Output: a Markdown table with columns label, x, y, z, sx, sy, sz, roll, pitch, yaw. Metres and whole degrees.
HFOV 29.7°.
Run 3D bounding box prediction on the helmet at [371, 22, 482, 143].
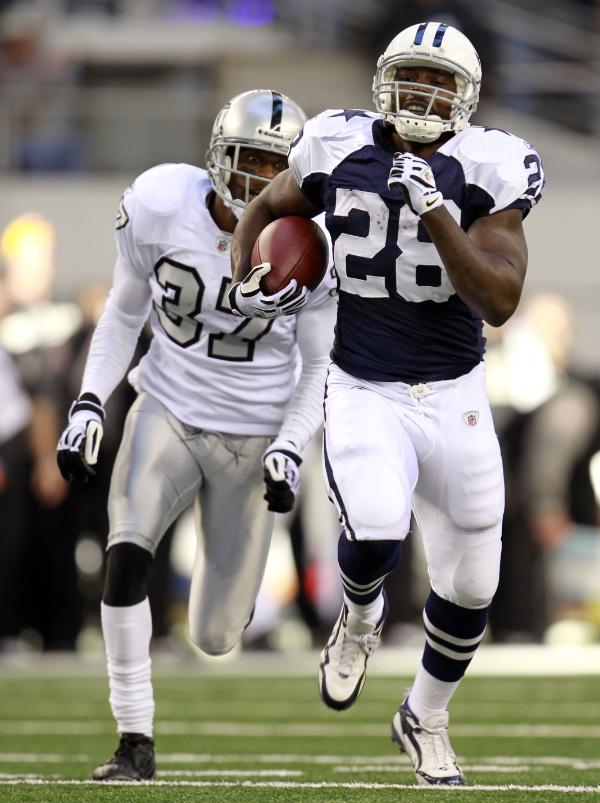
| label | x | y | z | sx | sy | sz | roll | pitch | yaw |
| --- | --- | --- | --- | --- | --- | --- | --- | --- | --- |
| helmet | 0.214 | -0.573 | 2.031 | 0.206 | 0.196 | 0.237 | 11 | 31 | 10 |

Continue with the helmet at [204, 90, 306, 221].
| label | x | y | z | sx | sy | sz | roll | pitch | yaw |
| --- | --- | --- | --- | --- | --- | --- | --- | --- | --- |
| helmet | -0.140 | -0.537 | 2.506 | 0.250 | 0.303 | 0.295 | -1 | 17 | -16 |

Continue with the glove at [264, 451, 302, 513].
| label | x | y | z | sx | sy | sz | roll | pitch | yaw |
| --- | --- | --- | --- | --- | --- | --- | --- | --- | --- |
| glove | -0.033 | 0.149 | 2.170 | 0.070 | 0.052 | 0.115 | 13 | 65 | -21 |

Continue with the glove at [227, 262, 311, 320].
| label | x | y | z | sx | sy | sz | roll | pitch | yaw |
| --- | --- | --- | --- | --- | --- | --- | --- | --- | --- |
| glove | -0.060 | -0.205 | 2.126 | 0.132 | 0.038 | 0.097 | -13 | 53 | -28 |

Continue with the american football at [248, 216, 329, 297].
| label | x | y | z | sx | sy | sz | roll | pitch | yaw |
| --- | --- | --- | --- | --- | --- | --- | --- | --- | --- |
| american football | -0.010 | -0.278 | 2.218 | 0.122 | 0.105 | 0.166 | 18 | 75 | 20 |

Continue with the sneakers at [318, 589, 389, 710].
| label | x | y | z | sx | sy | sz | roll | pitch | yaw |
| --- | --- | --- | --- | --- | --- | --- | --- | --- | --- |
| sneakers | 0.121 | 0.499 | 2.424 | 0.102 | 0.114 | 0.282 | 20 | 53 | -9 |

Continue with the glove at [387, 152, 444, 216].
| label | x | y | z | sx | sy | sz | roll | pitch | yaw |
| --- | --- | --- | --- | --- | --- | --- | --- | --- | --- |
| glove | 0.188 | -0.328 | 1.778 | 0.104 | 0.073 | 0.047 | 52 | 3 | 8 |

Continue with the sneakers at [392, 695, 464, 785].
| label | x | y | z | sx | sy | sz | roll | pitch | yaw |
| --- | --- | --- | --- | --- | --- | --- | --- | --- | --- |
| sneakers | 0.231 | 0.661 | 2.164 | 0.069 | 0.092 | 0.199 | 20 | 20 | -38 |

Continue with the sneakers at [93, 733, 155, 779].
| label | x | y | z | sx | sy | sz | roll | pitch | yaw |
| --- | --- | --- | --- | --- | --- | --- | --- | --- | --- |
| sneakers | -0.305 | 0.642 | 2.027 | 0.054 | 0.084 | 0.152 | -6 | -17 | 33 |
